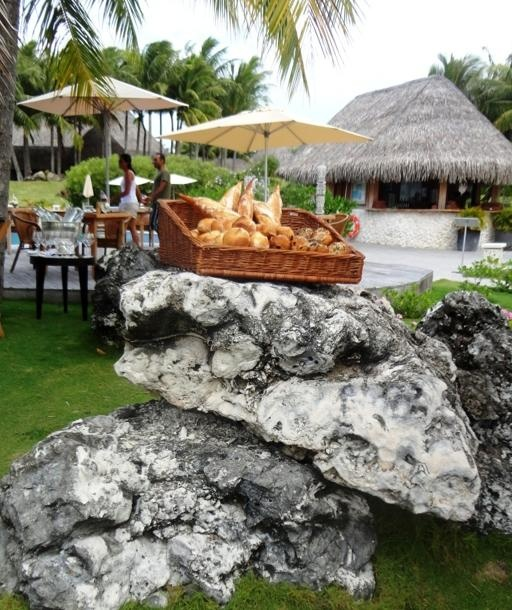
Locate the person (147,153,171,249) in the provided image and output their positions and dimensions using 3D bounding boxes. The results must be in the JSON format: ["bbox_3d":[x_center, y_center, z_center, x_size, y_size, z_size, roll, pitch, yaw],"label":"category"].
[{"bbox_3d":[-1.914,-1.873,8.547,0.436,1.508,0.466,-4,32,-34],"label":"person"}]

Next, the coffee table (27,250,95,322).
[{"bbox_3d":[-2.475,-0.401,6.082,0.884,1.066,0.870,-6,17,-27],"label":"coffee table"}]

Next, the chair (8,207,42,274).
[{"bbox_3d":[-4.019,-1.135,8.351,0.692,0.894,0.732,2,17,-27],"label":"chair"}]
